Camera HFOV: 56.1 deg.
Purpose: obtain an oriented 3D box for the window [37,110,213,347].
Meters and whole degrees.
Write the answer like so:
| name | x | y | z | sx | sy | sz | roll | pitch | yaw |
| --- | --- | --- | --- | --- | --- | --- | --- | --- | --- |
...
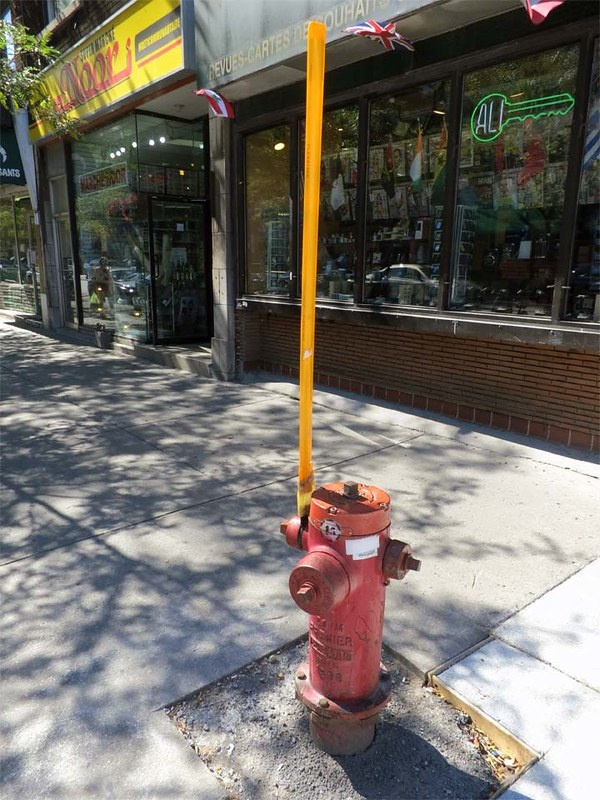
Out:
| name | x | y | z | sx | sy | sz | roll | pitch | yaw |
| --- | --- | --- | --- | --- | --- | --- | --- | --- | --- |
| window | -3.425 | -3.518 | 11.299 | 1.650 | 4.658 | 4.116 | -16 | 28 | -41 |

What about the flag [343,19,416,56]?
| name | x | y | z | sx | sy | sz | roll | pitch | yaw |
| --- | --- | --- | --- | --- | --- | --- | --- | --- | --- |
| flag | 0.795 | -3.351 | 5.234 | 0.306 | 0.231 | 0.768 | 17 | 18 | 35 |
